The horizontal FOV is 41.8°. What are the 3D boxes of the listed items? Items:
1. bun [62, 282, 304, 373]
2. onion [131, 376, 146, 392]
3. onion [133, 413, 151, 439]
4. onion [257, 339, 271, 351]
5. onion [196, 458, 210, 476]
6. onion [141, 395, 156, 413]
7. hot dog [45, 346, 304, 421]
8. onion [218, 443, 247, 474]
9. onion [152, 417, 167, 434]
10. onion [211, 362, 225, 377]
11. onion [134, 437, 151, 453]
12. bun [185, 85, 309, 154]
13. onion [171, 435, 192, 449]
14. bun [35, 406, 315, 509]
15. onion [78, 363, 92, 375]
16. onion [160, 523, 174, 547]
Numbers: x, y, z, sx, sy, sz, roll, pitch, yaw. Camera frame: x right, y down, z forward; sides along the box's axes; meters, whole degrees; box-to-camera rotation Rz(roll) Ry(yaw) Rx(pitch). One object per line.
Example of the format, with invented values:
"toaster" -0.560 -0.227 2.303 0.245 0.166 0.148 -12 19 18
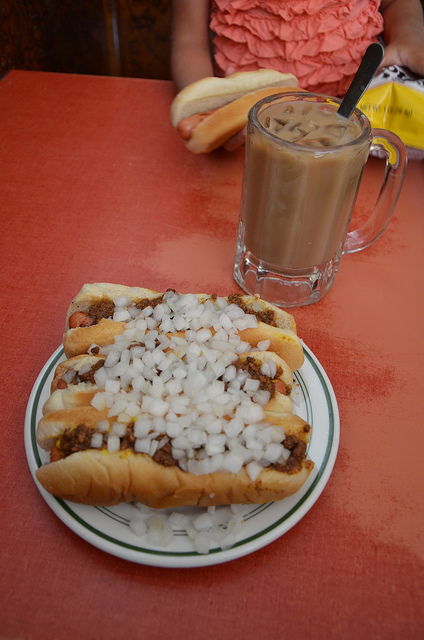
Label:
"bun" -0.045 0.000 0.790 0.308 0.085 0.147 8 41 -4
"onion" -0.089 0.076 0.666 0.017 0.011 0.018 -22 54 -20
"onion" -0.080 0.120 0.634 0.018 0.022 0.027 7 50 2
"onion" 0.072 0.037 0.764 0.020 0.011 0.013 -14 52 -14
"onion" -0.009 0.163 0.621 0.017 0.013 0.016 -7 10 8
"onion" -0.076 0.097 0.640 0.015 0.017 0.017 17 88 3
"hot dog" -0.052 0.088 0.698 0.322 0.088 0.128 -1 50 -4
"onion" 0.025 0.156 0.622 0.022 0.028 0.032 28 54 19
"onion" -0.061 0.122 0.634 0.015 0.017 0.015 0 50 -3
"onion" 0.007 0.059 0.677 0.011 0.015 0.016 -17 31 -25
"onion" -0.080 0.143 0.630 0.022 0.015 0.016 2 79 2
"bun" 0.067 -0.429 1.196 0.100 0.123 0.284 34 56 23
"onion" -0.034 0.139 0.625 0.023 0.014 0.012 8 50 4
"bun" -0.050 0.186 0.683 0.294 0.077 0.132 4 43 -2
"onion" -0.162 0.063 0.703 0.016 0.011 0.015 -17 53 -17
"onion" -0.050 0.238 0.611 0.013 0.010 0.027 3 50 -1
